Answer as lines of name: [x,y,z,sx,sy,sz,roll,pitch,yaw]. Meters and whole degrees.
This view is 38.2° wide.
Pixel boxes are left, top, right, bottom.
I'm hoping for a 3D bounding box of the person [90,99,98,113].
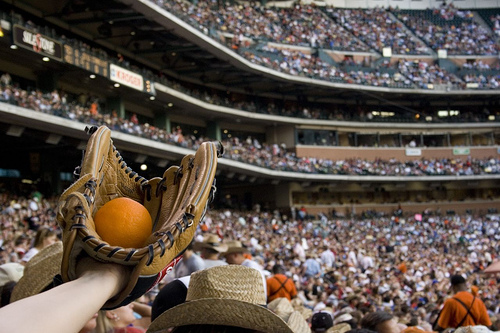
person: [-8.615,-3.250,39.864,0.397,0.646,0.830,5,8,-13]
